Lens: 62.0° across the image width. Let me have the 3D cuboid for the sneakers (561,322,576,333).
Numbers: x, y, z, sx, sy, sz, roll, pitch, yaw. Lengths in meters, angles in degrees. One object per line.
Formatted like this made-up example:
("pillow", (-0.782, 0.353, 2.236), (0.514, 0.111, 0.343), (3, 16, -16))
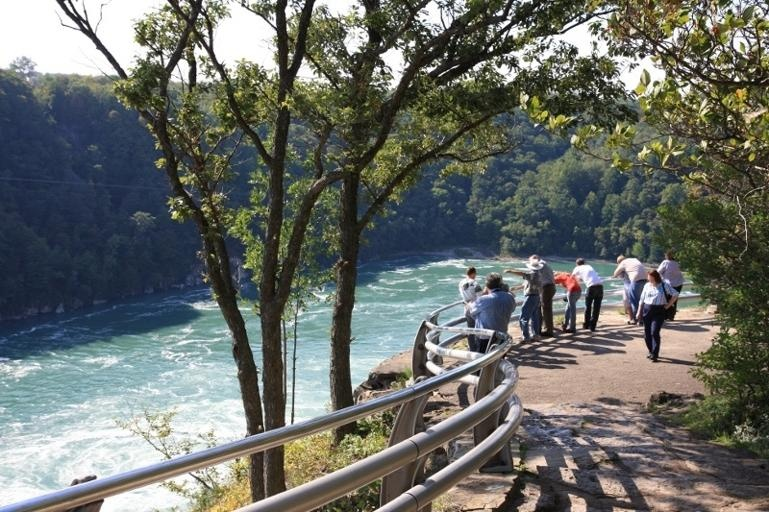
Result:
("sneakers", (4.665, 1.796, 16.186), (0.435, 0.291, 0.166), (-5, 7, 0))

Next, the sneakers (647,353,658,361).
("sneakers", (5.686, 2.137, 13.608), (0.085, 0.112, 0.262), (-5, -5, -25))

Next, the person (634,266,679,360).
("person", (5.770, 1.221, 13.497), (0.627, 1.944, 0.579), (1, 8, 23))

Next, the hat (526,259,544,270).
("hat", (3.525, 0.183, 14.864), (0.343, 0.251, 0.425), (0, 7, 14))
